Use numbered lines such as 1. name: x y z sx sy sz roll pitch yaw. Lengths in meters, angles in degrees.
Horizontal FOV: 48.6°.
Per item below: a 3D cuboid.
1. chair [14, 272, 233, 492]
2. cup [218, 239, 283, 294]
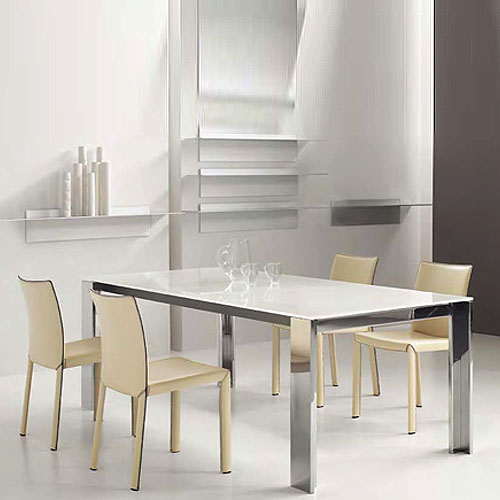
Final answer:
1. chair: -0.533 0.496 2.314 1.089 0.727 0.483 1 1 45
2. cup: -0.007 0.069 2.812 0.297 0.338 0.212 -3 5 -14
